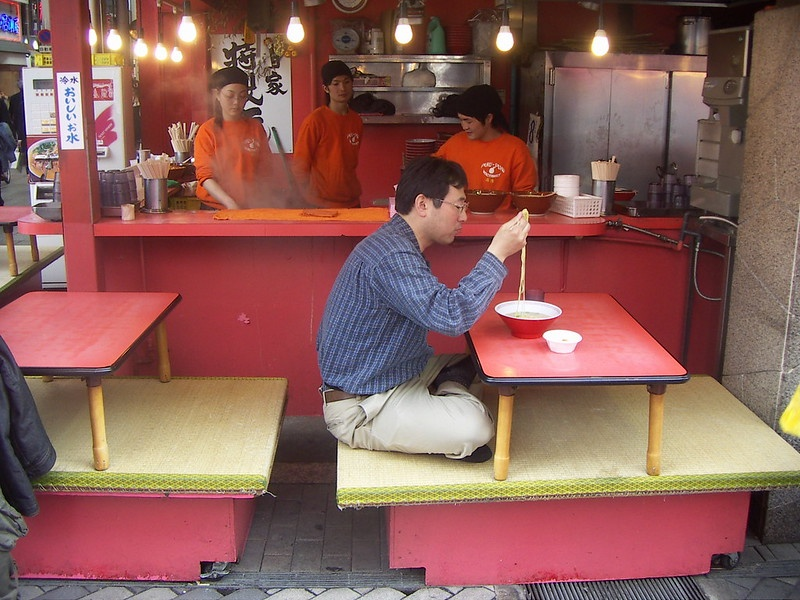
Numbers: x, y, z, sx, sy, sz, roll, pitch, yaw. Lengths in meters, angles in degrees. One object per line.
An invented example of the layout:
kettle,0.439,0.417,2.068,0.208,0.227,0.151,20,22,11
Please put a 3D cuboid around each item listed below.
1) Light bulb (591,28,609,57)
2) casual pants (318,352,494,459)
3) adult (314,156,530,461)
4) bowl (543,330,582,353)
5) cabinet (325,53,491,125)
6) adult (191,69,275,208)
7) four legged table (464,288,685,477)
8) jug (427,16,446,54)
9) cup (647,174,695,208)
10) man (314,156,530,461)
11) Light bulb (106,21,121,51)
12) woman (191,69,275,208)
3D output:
Light bulb,1.650,-2.130,5.067,0.106,0.195,0.369,3,19,14
casual pants,0.085,0.519,2.991,0.563,0.170,0.509,5,15,-6
adult,0.138,0.009,3.259,1.155,1.369,1.214,0,11,8
bowl,0.733,0.179,2.836,0.120,0.041,0.121,-1,11,0
cabinet,0.133,-2.880,7.847,1.850,0.722,0.521,-4,31,-23
adult,-1.458,-1.332,5.191,0.654,1.144,0.826,-4,19,-5
four legged table,0.791,0.410,3.140,0.906,0.602,1.088,-1,18,2
jug,0.479,-3.387,7.906,0.254,0.464,0.232,-1,19,4
cup,2.227,-0.931,5.077,0.341,0.170,0.455,1,13,11
man,0.155,0.008,3.232,1.136,1.361,1.165,-3,12,-7
Light bulb,-3.366,-3.085,7.237,0.137,0.235,0.426,-11,20,-24
woman,-1.458,-1.332,5.191,0.654,1.144,0.826,-4,19,-5
